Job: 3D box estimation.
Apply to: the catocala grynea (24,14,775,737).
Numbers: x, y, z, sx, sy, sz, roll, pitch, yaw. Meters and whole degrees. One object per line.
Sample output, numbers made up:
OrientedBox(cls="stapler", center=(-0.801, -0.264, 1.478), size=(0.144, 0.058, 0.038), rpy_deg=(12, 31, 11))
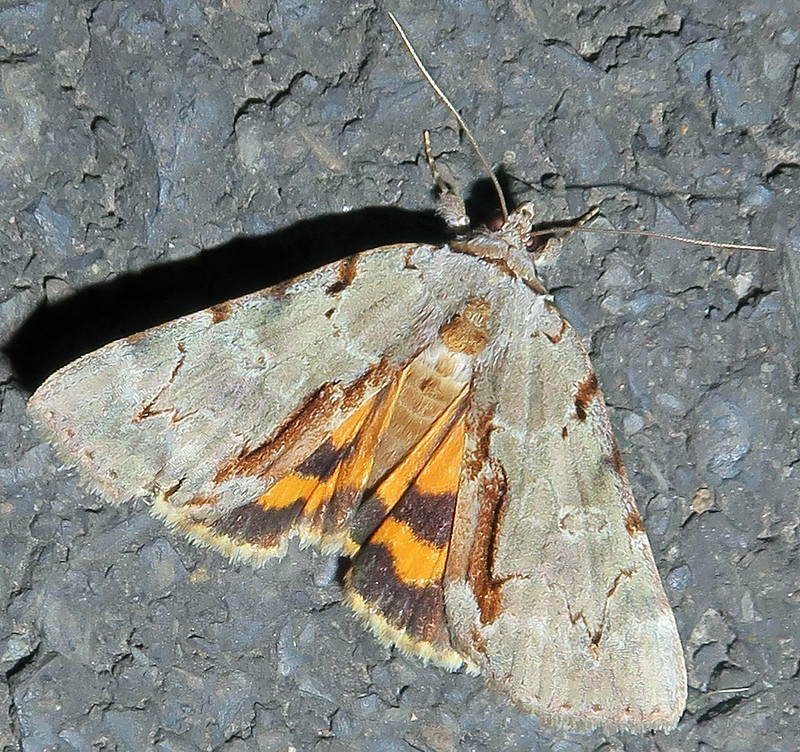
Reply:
OrientedBox(cls="catocala grynea", center=(0.034, 0.257, 4.409), size=(2.489, 0.686, 2.021), rpy_deg=(28, 99, 9))
